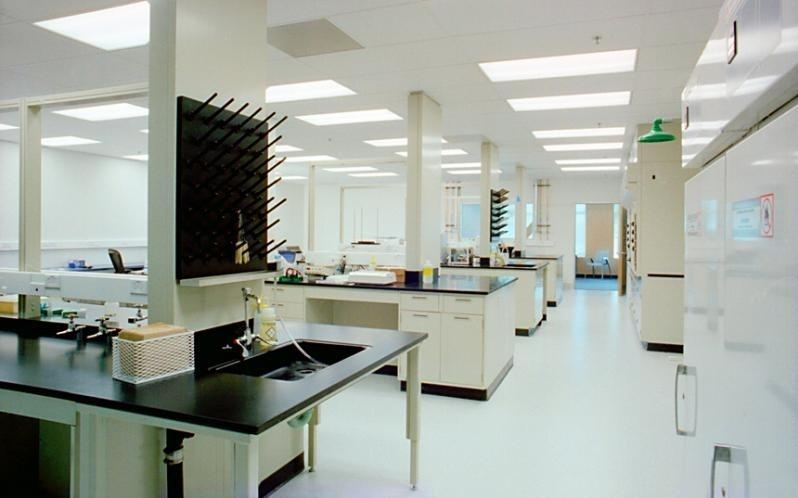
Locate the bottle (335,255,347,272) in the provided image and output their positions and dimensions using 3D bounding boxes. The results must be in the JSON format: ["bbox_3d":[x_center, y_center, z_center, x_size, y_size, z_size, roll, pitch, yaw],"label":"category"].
[{"bbox_3d":[-0.717,0.197,7.208,0.138,0.205,0.151,1,10,0],"label":"bottle"}]

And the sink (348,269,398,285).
[{"bbox_3d":[-0.312,0.324,6.263,0.520,0.129,0.216,1,10,3],"label":"sink"}]

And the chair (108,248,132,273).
[{"bbox_3d":[-4.617,0.199,9.378,0.368,0.439,0.369,8,2,28],"label":"chair"}]

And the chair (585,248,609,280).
[{"bbox_3d":[6.417,0.492,17.905,0.886,1.156,0.791,0,1,33],"label":"chair"}]

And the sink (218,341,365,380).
[{"bbox_3d":[-0.757,0.870,4.119,1.076,0.235,0.719,-2,-13,-25],"label":"sink"}]

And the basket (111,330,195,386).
[{"bbox_3d":[-1.438,0.609,3.354,0.363,0.219,0.246,4,-7,5],"label":"basket"}]

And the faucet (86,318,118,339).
[{"bbox_3d":[-1.977,0.542,3.820,0.175,0.090,0.236,1,-2,7],"label":"faucet"}]

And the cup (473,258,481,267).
[{"bbox_3d":[1.247,0.217,9.157,0.124,0.135,0.123,1,3,0],"label":"cup"}]
